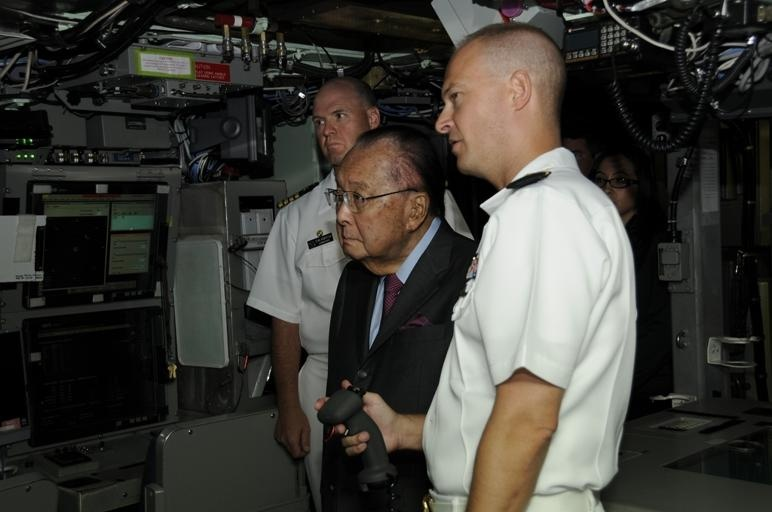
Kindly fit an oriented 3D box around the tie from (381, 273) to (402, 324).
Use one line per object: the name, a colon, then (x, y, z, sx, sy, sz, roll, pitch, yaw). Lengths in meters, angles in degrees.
tie: (0.022, 0.162, 2.570, 0.039, 0.159, 0.103, 24, -5, -36)
